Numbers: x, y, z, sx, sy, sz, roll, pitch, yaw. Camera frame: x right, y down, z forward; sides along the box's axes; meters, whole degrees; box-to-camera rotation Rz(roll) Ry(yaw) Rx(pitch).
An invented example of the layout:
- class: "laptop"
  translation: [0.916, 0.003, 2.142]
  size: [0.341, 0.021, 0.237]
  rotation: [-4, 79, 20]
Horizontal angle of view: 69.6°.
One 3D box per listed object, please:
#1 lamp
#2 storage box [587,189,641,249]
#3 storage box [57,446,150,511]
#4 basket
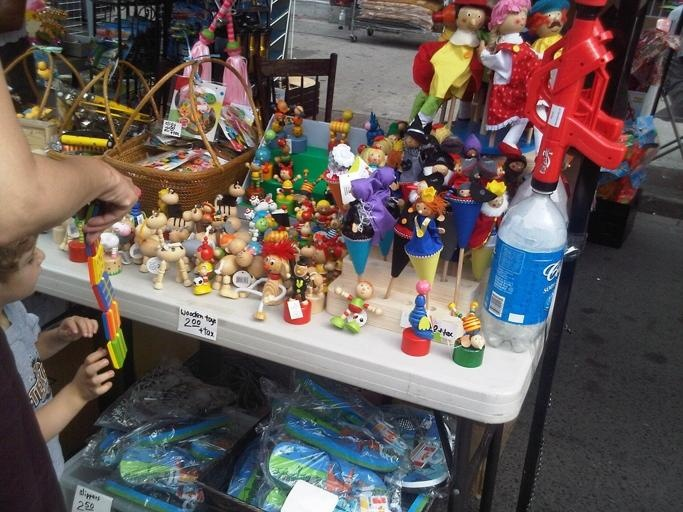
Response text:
- class: "lamp"
  translation: [-0.803, -1.766, 4.129]
  size: [0.282, 0.546, 0.302]
  rotation: [11, 36, -9]
- class: "storage box"
  translation: [1.982, -0.271, 3.612]
  size: [0.208, 0.252, 0.380]
  rotation: [16, 31, 32]
- class: "storage box"
  translation: [-0.710, 0.698, 1.475]
  size: [0.211, 0.160, 0.160]
  rotation: [16, 23, 21]
- class: "basket"
  translation: [-0.641, -0.498, 1.971]
  size: [0.561, 0.711, 0.821]
  rotation: [27, 39, 15]
